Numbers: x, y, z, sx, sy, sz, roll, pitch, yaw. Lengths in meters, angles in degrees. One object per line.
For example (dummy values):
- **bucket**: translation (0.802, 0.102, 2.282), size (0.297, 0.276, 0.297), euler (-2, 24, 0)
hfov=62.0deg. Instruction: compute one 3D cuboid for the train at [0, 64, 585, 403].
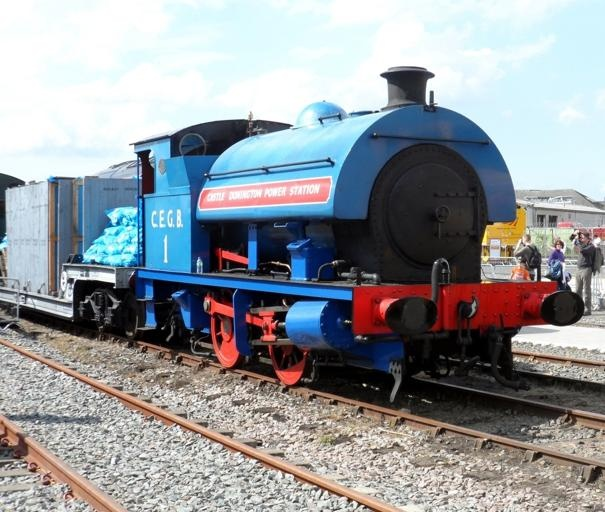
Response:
- **train**: translation (-2.866, -0.739, 11.858), size (4.603, 4.924, 15.279), euler (-2, 3, -33)
